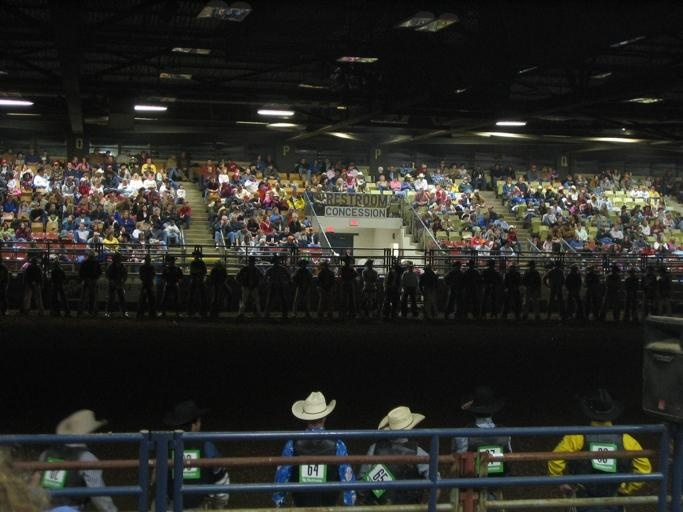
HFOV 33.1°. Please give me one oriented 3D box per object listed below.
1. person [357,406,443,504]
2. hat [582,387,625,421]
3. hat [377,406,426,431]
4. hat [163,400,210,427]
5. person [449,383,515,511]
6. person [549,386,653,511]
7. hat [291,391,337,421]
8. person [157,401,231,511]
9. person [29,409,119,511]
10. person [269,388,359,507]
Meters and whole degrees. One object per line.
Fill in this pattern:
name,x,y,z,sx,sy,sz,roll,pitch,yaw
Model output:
person,0.839,3.218,18.603,1.091,1.583,1.083,3,5,0
hat,4.255,2.440,18.935,0.693,0.197,0.688,3,22,16
hat,0.932,2.720,18.676,0.594,0.180,0.503,-15,12,3
hat,-2.574,2.577,18.889,0.547,0.171,0.458,-18,11,-20
person,2.276,3.171,18.917,0.952,2.042,1.318,3,5,5
person,4.191,3.175,18.755,1.597,1.972,0.787,2,5,-8
hat,-0.400,2.497,18.941,0.652,0.262,0.708,3,20,20
person,-2.357,3.319,18.735,1.043,1.836,1.075,2,5,-9
person,-4.258,3.289,18.301,1.220,1.551,1.033,2,5,-14
person,-0.415,3.121,18.527,1.302,1.809,0.845,3,5,0
